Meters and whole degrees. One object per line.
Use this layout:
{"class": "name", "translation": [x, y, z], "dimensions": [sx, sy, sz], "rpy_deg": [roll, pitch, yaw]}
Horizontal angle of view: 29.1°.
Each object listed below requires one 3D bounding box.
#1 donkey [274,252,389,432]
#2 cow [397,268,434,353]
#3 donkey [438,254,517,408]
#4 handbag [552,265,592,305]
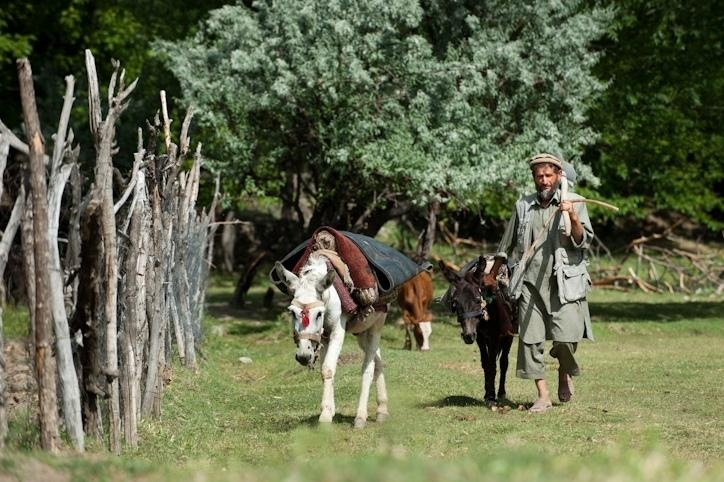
{"class": "donkey", "translation": [-0.522, 1.876, 25.954], "dimensions": [1.944, 3.252, 1.004], "rpy_deg": [3, -4, -43]}
{"class": "cow", "translation": [1.292, 1.526, 32.080], "dimensions": [0.887, 1.783, 1.286], "rpy_deg": [0, 18, 0]}
{"class": "donkey", "translation": [2.365, 1.670, 26.754], "dimensions": [0.816, 2.393, 2.771], "rpy_deg": [0, 0, 8]}
{"class": "handbag", "translation": [3.930, 0.811, 25.926], "dimensions": [0.654, 0.686, 0.253], "rpy_deg": [1, -6, -6]}
